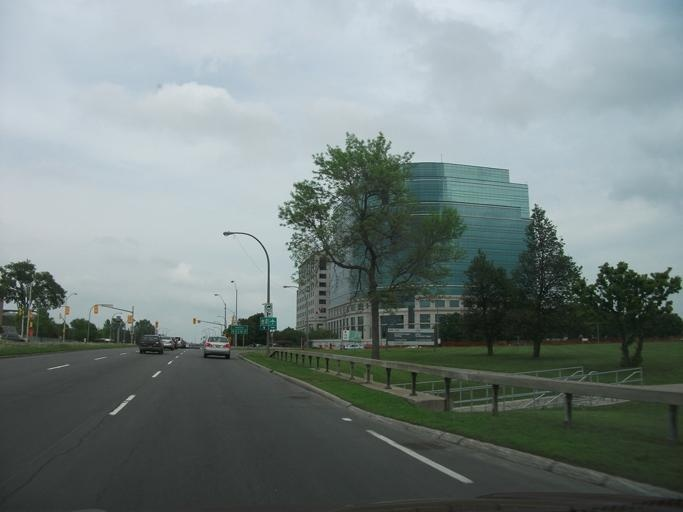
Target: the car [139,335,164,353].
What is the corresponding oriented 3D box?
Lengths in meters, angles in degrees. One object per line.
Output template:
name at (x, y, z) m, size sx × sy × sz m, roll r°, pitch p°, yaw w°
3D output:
car at (-13.936, 6.427, 54.583) m, size 1.540 × 1.448 × 2.906 m, roll 4°, pitch -10°, yaw -17°
